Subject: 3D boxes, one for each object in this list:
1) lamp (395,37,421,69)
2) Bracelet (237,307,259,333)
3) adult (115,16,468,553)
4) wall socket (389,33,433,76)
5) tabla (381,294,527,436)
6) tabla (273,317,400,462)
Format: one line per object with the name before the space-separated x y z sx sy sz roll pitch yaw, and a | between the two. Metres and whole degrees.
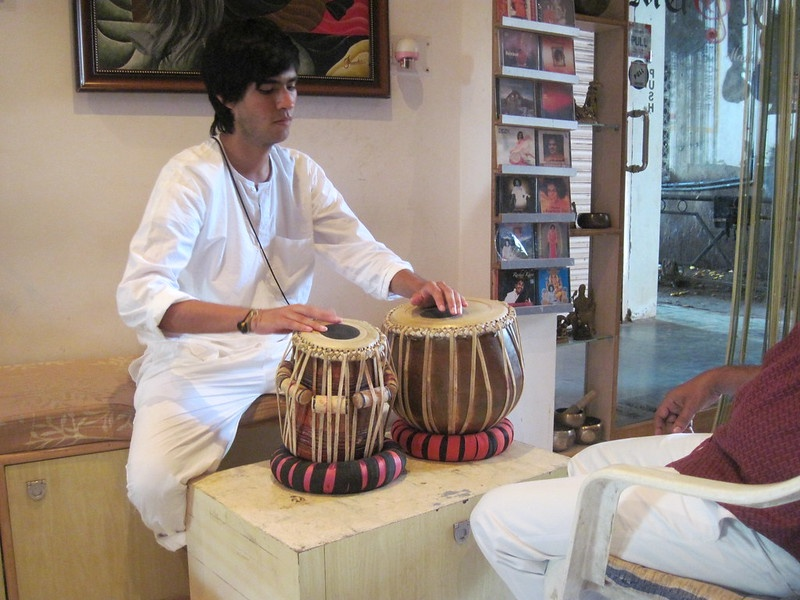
lamp | 0.027 -1.152 3.117 0.107 0.147 0.129 8 18 20
Bracelet | -0.462 0.066 2.022 0.030 0.078 0.046 23 -18 -10
adult | -0.474 0.035 2.568 1.390 1.971 1.022 -9 17 -34
wall socket | 0.055 -1.165 3.164 0.141 0.104 0.190 3 4 -14
tabla | 0.162 0.206 2.159 0.375 0.338 0.386 -8 6 -17
tabla | -0.182 0.267 2.033 0.349 0.351 0.363 3 8 3
